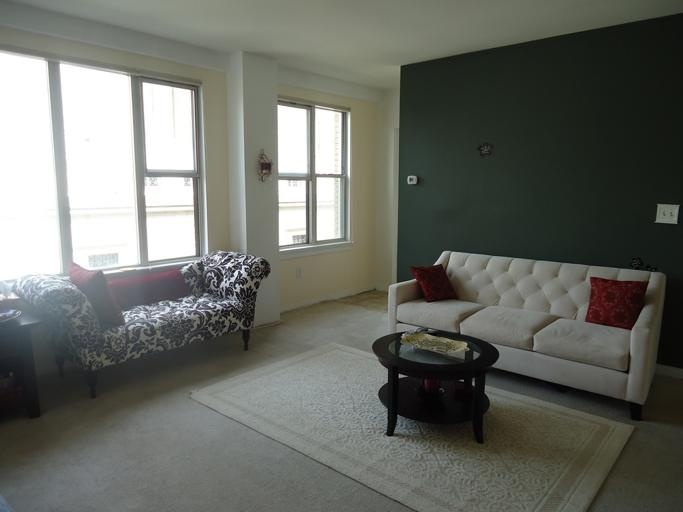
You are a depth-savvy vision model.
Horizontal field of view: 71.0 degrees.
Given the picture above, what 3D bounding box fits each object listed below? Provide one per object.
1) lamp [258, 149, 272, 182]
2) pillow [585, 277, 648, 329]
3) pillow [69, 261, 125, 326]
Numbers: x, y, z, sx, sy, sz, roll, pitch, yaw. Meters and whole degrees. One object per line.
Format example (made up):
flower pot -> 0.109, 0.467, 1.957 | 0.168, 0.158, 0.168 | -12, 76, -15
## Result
lamp -> -0.876, -1.059, 5.602 | 0.110, 0.361, 0.234 | 9, 17, 32
pillow -> 2.389, 0.398, 4.191 | 0.442, 0.361, 0.376 | 10, 18, 33
pillow -> -2.139, 0.338, 4.131 | 0.537, 0.485, 0.233 | 11, 18, 36
